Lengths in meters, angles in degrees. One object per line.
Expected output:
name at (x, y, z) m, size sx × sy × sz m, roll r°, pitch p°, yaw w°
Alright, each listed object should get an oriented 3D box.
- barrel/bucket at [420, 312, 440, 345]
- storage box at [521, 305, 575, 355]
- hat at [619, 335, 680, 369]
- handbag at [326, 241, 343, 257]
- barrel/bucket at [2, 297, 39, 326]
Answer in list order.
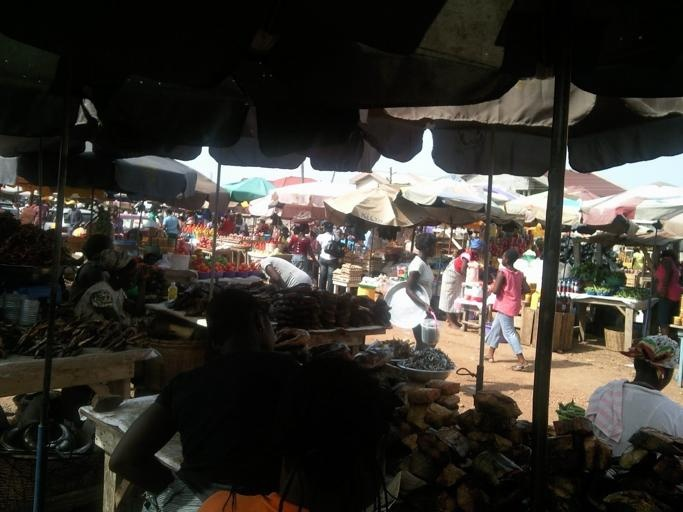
barrel/bucket at (1.094, 0.837, 6.222) m, size 0.256 × 0.377 × 0.243 m, roll 8°, pitch 11°, yaw -2°
storage box at (4.211, 1.528, 10.618) m, size 0.547 × 0.755 × 0.987 m, roll 10°, pitch -10°, yaw -29°
hat at (2.305, 0.653, 3.833) m, size 0.297 × 0.128 × 0.294 m, roll -3°, pitch 4°, yaw -40°
handbag at (-0.138, -0.208, 13.030) m, size 0.319 × 0.462 × 0.469 m, roll 8°, pitch 10°, yaw 0°
barrel/bucket at (-2.653, 0.458, 4.314) m, size 0.239 × 0.277 × 0.252 m, roll 2°, pitch -7°, yaw 0°
